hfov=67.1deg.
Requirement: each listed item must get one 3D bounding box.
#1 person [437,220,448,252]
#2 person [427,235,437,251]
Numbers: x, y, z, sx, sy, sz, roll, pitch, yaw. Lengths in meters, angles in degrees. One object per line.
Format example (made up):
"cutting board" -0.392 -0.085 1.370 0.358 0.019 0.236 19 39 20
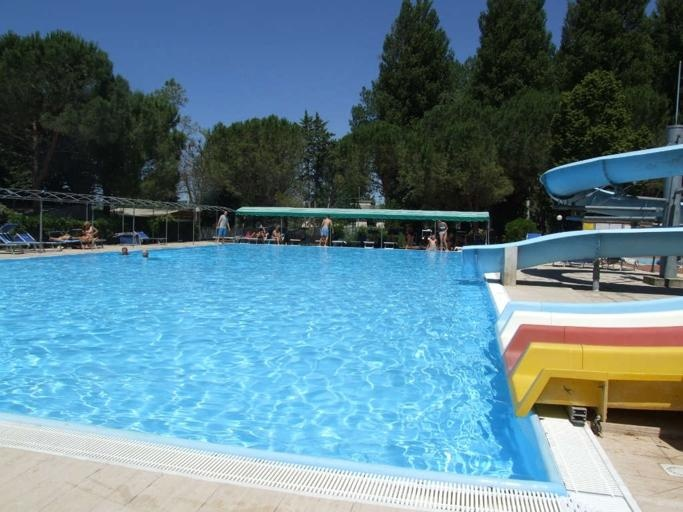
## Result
"person" 5.928 -1.141 29.594 0.495 1.686 2.226 -1 2 13
"person" 5.109 -0.693 28.907 0.683 1.104 0.665 -1 -5 8
